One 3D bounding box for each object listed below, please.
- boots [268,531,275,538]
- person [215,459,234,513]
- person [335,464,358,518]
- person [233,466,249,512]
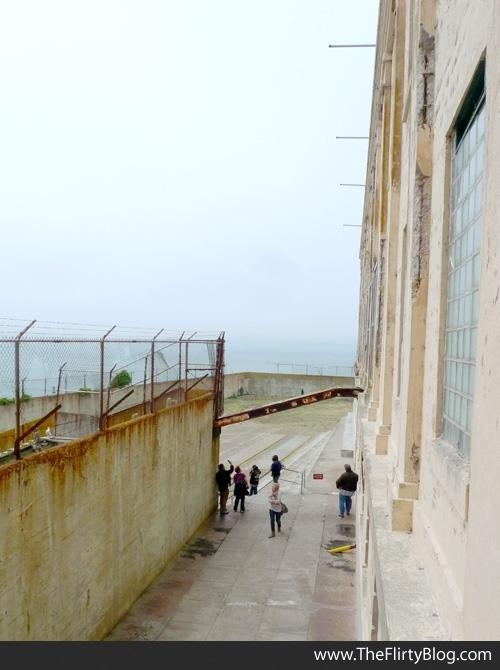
[{"bbox_3d":[0.537,5.095,13.862,0.085,0.205,0.210,-7,-13,35],"label":"boots"},{"bbox_3d":[-0.804,4.625,16.658,0.517,1.460,1.618,-1,-2,-3],"label":"person"},{"bbox_3d":[2.622,4.294,15.053,0.524,1.517,0.473,2,6,-10],"label":"person"},{"bbox_3d":[-0.289,4.614,16.296,0.401,1.423,1.219,-1,-2,-1],"label":"person"}]
